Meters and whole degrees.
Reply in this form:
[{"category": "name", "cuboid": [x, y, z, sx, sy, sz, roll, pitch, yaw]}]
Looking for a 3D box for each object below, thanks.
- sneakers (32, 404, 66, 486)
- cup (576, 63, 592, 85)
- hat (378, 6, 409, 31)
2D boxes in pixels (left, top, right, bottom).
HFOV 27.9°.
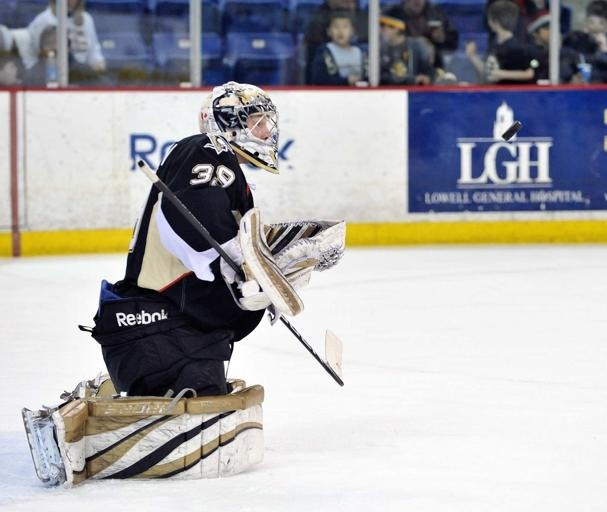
[{"category": "sneakers", "cuboid": [-0.825, 0.623, 3.994, 0.177, 0.215, 0.084, 2, -16, -25]}, {"category": "cup", "cuboid": [1.980, -1.285, 8.657, 0.138, 0.181, 0.131, -3, 7, 0]}, {"category": "hat", "cuboid": [0.609, -1.600, 8.328, 0.174, 0.063, 0.131, 34, 45, 21]}]
